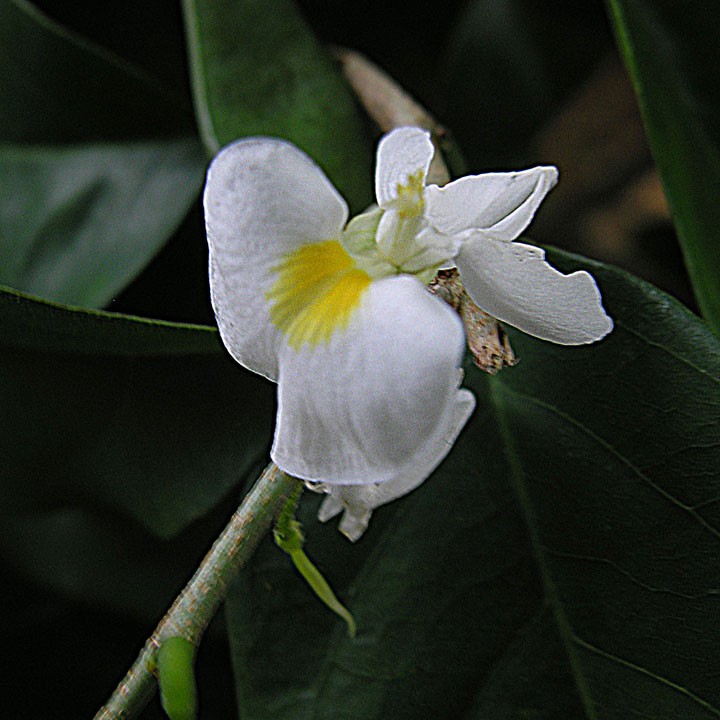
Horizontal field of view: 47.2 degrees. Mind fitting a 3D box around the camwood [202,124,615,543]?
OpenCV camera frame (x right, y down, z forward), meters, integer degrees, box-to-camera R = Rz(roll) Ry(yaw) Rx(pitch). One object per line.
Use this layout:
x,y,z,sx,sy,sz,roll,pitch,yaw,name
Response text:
0.025,-0.059,0.563,0.305,0.177,0.195,-32,50,-23,camwood
